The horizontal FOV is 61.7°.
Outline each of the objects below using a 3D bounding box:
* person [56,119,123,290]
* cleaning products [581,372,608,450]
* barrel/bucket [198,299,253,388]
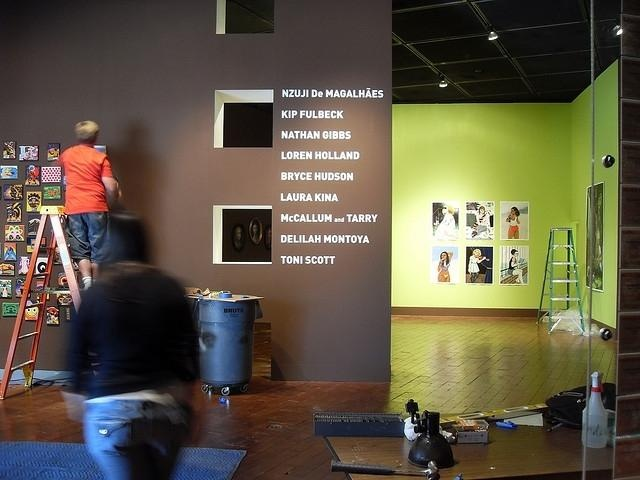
[{"bbox_3d":[-2.585,-0.395,5.922,0.696,1.953,0.963,0,0,16],"label":"person"},{"bbox_3d":[1.346,0.835,2.636,0.126,0.354,0.121,1,-1,-13],"label":"cleaning products"},{"bbox_3d":[-0.963,1.028,5.575,0.468,0.916,0.529,4,0,-9],"label":"barrel/bucket"}]
